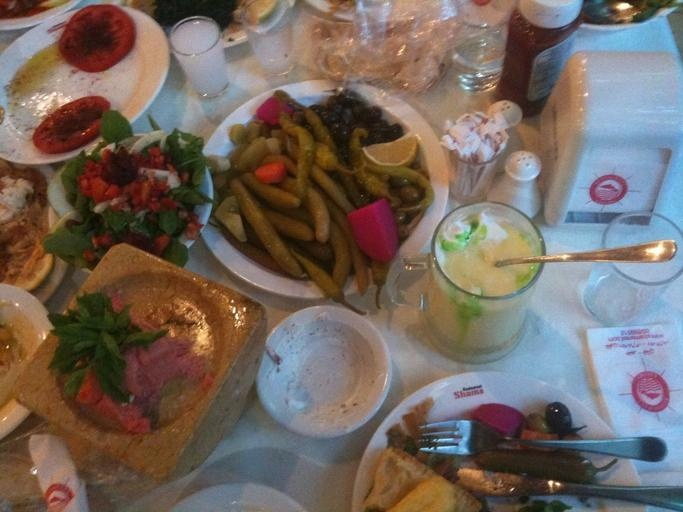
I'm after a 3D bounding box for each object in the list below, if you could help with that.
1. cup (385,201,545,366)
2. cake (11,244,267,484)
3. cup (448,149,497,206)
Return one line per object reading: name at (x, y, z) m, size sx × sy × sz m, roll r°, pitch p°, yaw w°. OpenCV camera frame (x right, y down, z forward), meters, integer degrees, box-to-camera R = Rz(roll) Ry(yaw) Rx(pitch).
cup at (0.180, 0.019, 1.178) m, size 0.365 × 0.364 × 0.250 m, roll -5°, pitch 60°, yaw 6°
cake at (-0.335, 0.180, 1.189) m, size 0.400 × 0.411 × 0.401 m, roll 28°, pitch 76°, yaw -1°
cup at (0.294, -0.177, 1.255) m, size 0.103 × 0.148 × 0.100 m, roll -2°, pitch 62°, yaw 4°
